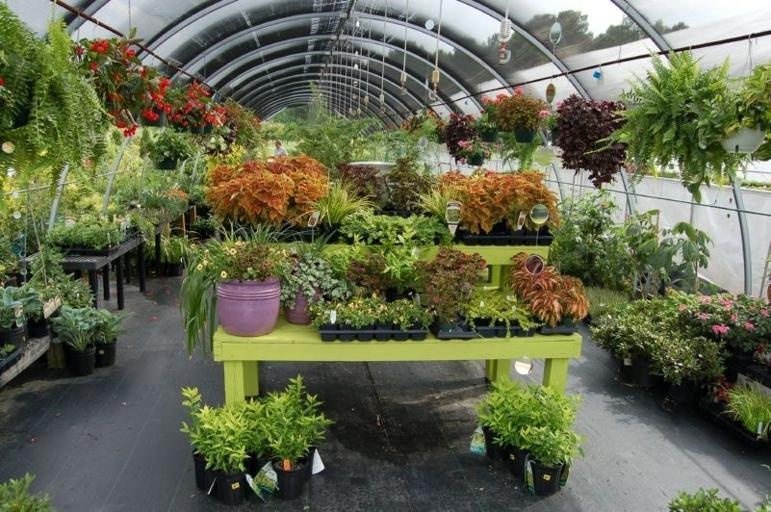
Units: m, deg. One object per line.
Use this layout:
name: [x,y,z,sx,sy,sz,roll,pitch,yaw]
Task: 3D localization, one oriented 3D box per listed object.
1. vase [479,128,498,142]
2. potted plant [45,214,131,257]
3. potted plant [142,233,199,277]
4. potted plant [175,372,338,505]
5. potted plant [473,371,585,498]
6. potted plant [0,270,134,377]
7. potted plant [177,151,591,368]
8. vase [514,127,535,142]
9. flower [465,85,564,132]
vase: [1.552,-1.835,7.590,0.197,0.158,0.217,-1,2,-2]
potted plant: [-3.910,-0.304,6.711,0.796,0.360,0.796,0,0,-16]
potted plant: [-3.392,-0.002,7.804,0.606,0.558,0.637,1,14,9]
potted plant: [-1.082,1.498,4.222,1.171,0.840,0.968,-1,5,-14]
potted plant: [1.189,1.440,4.243,0.749,0.762,1.011,3,15,-5]
potted plant: [-3.166,0.741,5.112,0.883,0.733,0.998,2,1,1]
potted plant: [-0.244,0.240,4.541,2.361,1.178,2.285,1,12,-4]
vase: [1.707,-1.495,6.261,0.183,0.144,0.187,3,5,37]
flower: [1.691,-1.782,6.387,0.810,0.629,0.864,1,6,-10]
